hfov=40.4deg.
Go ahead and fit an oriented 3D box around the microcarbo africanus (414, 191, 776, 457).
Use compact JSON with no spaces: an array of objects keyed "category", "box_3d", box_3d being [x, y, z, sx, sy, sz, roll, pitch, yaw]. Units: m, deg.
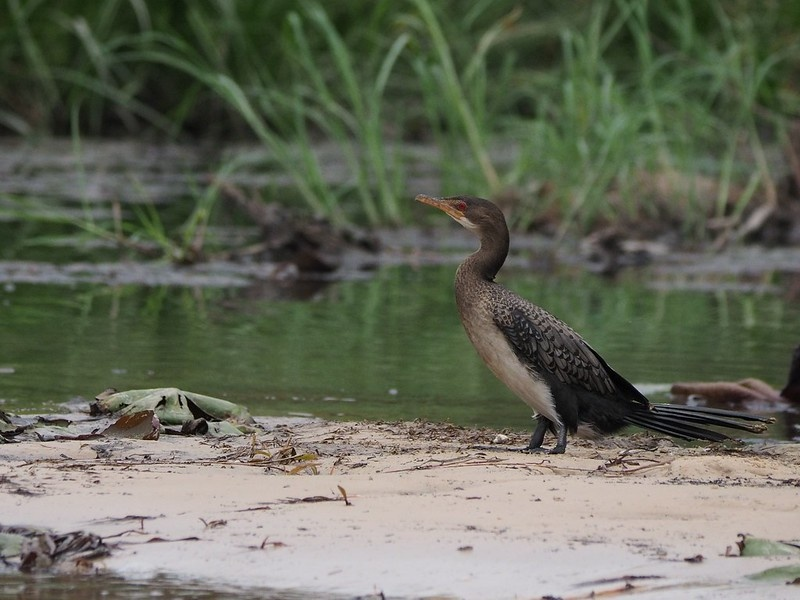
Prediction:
[{"category":"microcarbo africanus","box_3d":[0.802,0.143,5.576,1.669,1.265,0.738,12,15,33]}]
